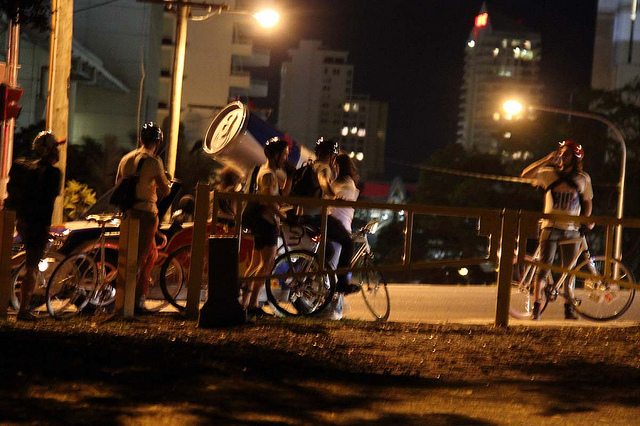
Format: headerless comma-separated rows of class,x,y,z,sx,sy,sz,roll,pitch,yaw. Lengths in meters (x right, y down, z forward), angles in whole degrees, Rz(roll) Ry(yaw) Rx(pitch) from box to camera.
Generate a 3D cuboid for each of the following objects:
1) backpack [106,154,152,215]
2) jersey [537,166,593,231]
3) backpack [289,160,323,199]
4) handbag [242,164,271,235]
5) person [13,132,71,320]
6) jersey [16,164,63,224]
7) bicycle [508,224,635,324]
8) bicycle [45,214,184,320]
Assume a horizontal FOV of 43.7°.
backpack,-2.804,-0.444,11.799,0.437,0.861,0.350,16,11,-19
jersey,4.045,-0.196,13.275,0.907,1.190,0.566,7,-15,9
backpack,-0.197,-0.482,12.093,0.483,0.771,0.375,-4,-13,44
handbag,-0.970,-0.173,11.936,0.398,0.935,0.570,-1,13,-14
person,-4.127,0.184,11.678,0.712,2.661,1.228,-2,13,-19
jersey,-4.172,-0.244,11.590,0.460,0.993,0.915,1,0,-34
bicycle,4.287,1.188,12.925,2.364,1.587,1.254,-4,5,3
bicycle,-3.173,1.004,12.396,2.293,1.460,0.958,7,-2,-41
